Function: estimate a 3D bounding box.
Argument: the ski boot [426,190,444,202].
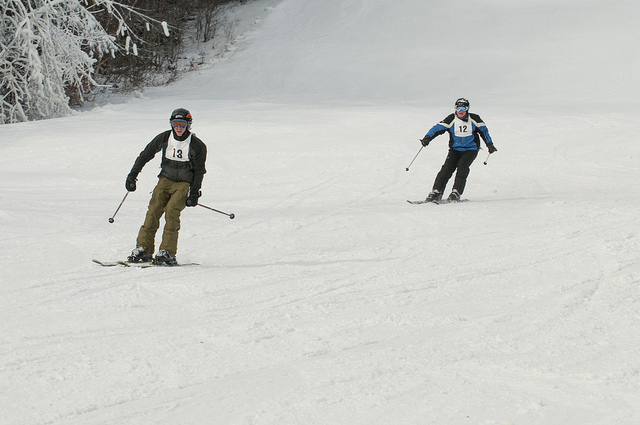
[{"bbox_3d":[2.385,-0.360,11.463,0.453,0.213,0.203,-12,18,-40],"label":"ski boot"}]

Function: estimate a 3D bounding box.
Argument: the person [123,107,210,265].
[{"bbox_3d":[-2.171,-0.358,7.478,1.130,2.032,0.857,0,15,4],"label":"person"}]

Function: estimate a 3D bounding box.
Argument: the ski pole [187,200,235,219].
[{"bbox_3d":[-2.060,-0.040,10.302,0.692,0.087,0.094,26,-19,-19],"label":"ski pole"}]

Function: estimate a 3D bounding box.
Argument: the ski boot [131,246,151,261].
[{"bbox_3d":[-2.433,0.559,7.470,0.232,0.173,0.125,-4,14,-14],"label":"ski boot"}]

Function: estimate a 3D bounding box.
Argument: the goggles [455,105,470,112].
[{"bbox_3d":[2.970,-2.195,11.597,0.229,0.143,0.186,4,14,20],"label":"goggles"}]

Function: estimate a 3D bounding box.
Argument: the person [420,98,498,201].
[{"bbox_3d":[2.860,-1.343,11.622,1.318,2.061,1.028,-12,18,-37],"label":"person"}]
